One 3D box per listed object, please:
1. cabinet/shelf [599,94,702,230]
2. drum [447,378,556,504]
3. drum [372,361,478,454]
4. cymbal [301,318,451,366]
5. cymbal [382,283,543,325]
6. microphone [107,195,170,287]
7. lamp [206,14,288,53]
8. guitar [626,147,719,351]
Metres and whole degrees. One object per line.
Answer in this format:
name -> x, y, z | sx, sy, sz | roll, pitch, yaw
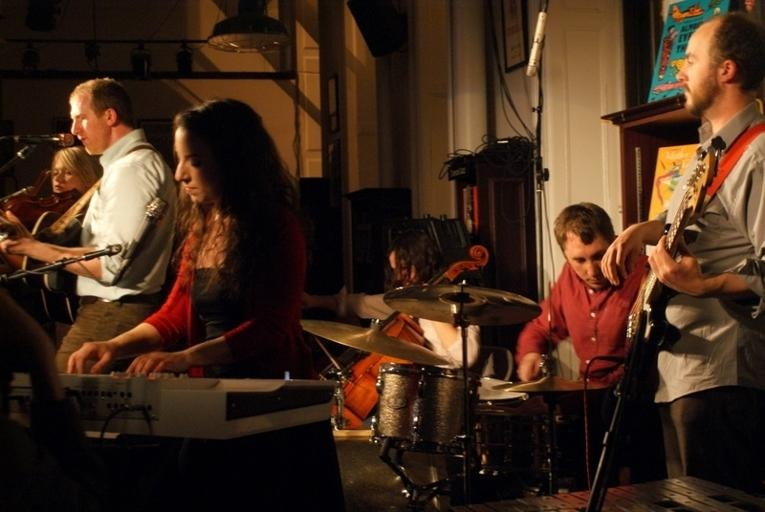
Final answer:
cabinet/shelf -> 1.563, -0.503, 4.619 | 0.265, 0.611, 0.631 | 5, -6, -23
drum -> 0.623, 0.985, 4.425 | 0.651, 0.734, 0.612 | 2, -7, -5
drum -> 0.188, 0.761, 4.168 | 0.447, 0.314, 0.440 | 4, -13, 1
cymbal -> -0.044, 0.451, 4.341 | 0.411, 0.082, 0.405 | 19, 1, -2
cymbal -> 0.374, 0.239, 3.998 | 0.386, 0.085, 0.376 | 20, -17, -24
microphone -> -1.172, -0.074, 3.933 | 0.100, 0.540, 0.108 | 48, -11, -23
lamp -> -1.329, -2.160, 8.006 | 0.784, 0.278, 0.767 | -4, 2, 15
guitar -> 1.063, 0.003, 3.084 | 0.101, 0.788, 0.317 | 15, 35, 10
